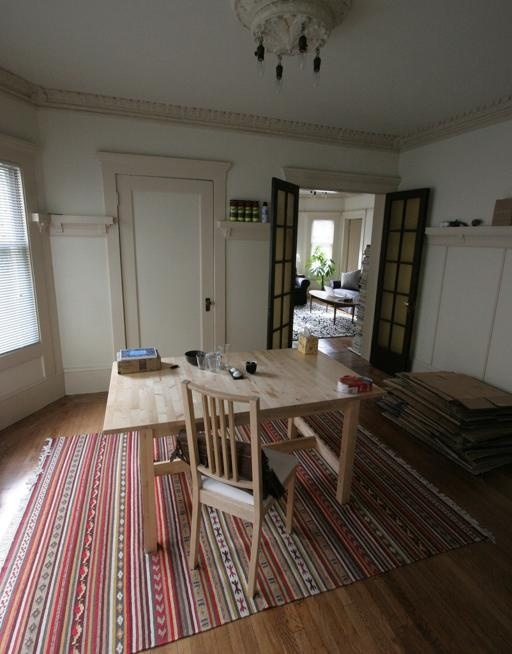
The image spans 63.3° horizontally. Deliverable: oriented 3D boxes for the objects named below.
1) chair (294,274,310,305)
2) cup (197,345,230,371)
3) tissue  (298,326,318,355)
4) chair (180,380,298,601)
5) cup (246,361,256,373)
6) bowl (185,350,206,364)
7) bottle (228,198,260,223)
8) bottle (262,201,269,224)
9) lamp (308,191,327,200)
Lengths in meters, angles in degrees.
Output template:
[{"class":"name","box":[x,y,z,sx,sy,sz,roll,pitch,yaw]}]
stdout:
[{"class":"chair","box":[1.005,-0.778,9.169,0.281,0.632,0.826,4,13,7]},{"class":"cup","box":[-0.259,0.188,2.542,0.127,0.084,0.193,-2,11,-1]},{"class":"tissue ","box":[0.421,0.098,3.334,0.123,0.166,0.226,-4,18,-11]},{"class":"chair","box":[-0.045,0.656,1.792,0.521,0.951,0.398,0,14,-9]},{"class":"cup","box":[-0.024,0.226,2.408,0.057,0.046,0.059,0,17,0]},{"class":"bowl","box":[-0.363,0.190,2.533,0.093,0.050,0.093,0,19,0]},{"class":"bottle","box":[-0.122,-1.124,4.017,0.374,0.265,0.201,-4,19,-17]},{"class":"bottle","box":[0.094,-1.135,4.083,0.078,0.218,0.111,-1,14,-13]},{"class":"lamp","box":[1.379,-2.964,9.270,0.386,0.111,0.517,4,13,8]}]
